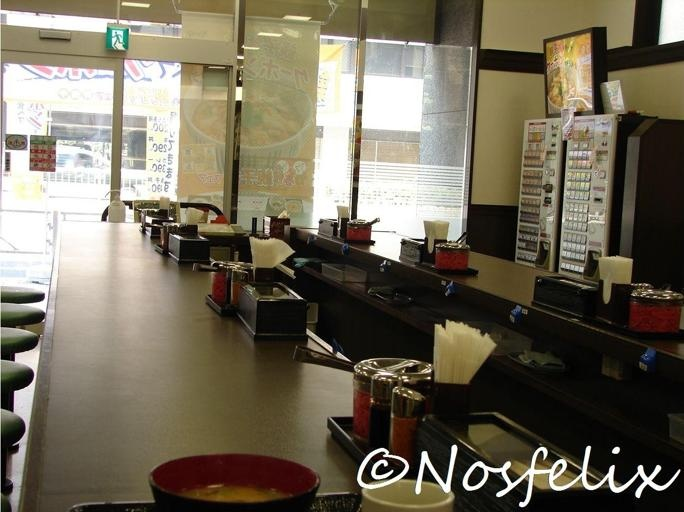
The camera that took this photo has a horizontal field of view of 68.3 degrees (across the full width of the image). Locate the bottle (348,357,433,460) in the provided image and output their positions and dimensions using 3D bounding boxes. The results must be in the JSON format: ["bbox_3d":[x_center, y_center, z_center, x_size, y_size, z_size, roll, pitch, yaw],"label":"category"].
[{"bbox_3d":[0.073,0.290,1.023,0.159,0.184,0.168,2,2,-10],"label":"bottle"}]

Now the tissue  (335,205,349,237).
[{"bbox_3d":[0.005,-0.266,3.907,0.079,0.244,0.165,-6,12,-43],"label":"tissue "}]

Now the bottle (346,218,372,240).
[{"bbox_3d":[0.129,-0.206,3.878,0.155,0.137,0.157,1,2,-5],"label":"bottle"}]

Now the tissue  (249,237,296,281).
[{"bbox_3d":[-0.300,0.011,2.133,0.172,0.140,0.164,0,2,-6],"label":"tissue "}]

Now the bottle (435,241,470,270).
[{"bbox_3d":[0.599,0.003,2.727,0.151,0.141,0.156,2,2,-3],"label":"bottle"}]

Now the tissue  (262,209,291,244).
[{"bbox_3d":[-0.623,-0.266,4.744,0.302,0.419,0.314,2,3,-14],"label":"tissue "}]

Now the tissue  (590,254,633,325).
[{"bbox_3d":[0.970,0.117,1.800,0.100,0.233,0.139,-6,12,-43],"label":"tissue "}]

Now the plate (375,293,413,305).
[{"bbox_3d":[0.315,0.272,3.211,0.258,0.047,0.162,6,10,22],"label":"plate"}]

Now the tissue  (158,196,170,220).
[{"bbox_3d":[-1.687,-0.460,4.759,0.074,0.196,0.124,-2,10,-25],"label":"tissue "}]

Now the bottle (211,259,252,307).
[{"bbox_3d":[-0.493,0.114,2.194,0.159,0.202,0.204,1,8,-17],"label":"bottle"}]

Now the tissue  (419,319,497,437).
[{"bbox_3d":[0.192,0.228,1.007,0.151,0.261,0.159,3,1,-2],"label":"tissue "}]
